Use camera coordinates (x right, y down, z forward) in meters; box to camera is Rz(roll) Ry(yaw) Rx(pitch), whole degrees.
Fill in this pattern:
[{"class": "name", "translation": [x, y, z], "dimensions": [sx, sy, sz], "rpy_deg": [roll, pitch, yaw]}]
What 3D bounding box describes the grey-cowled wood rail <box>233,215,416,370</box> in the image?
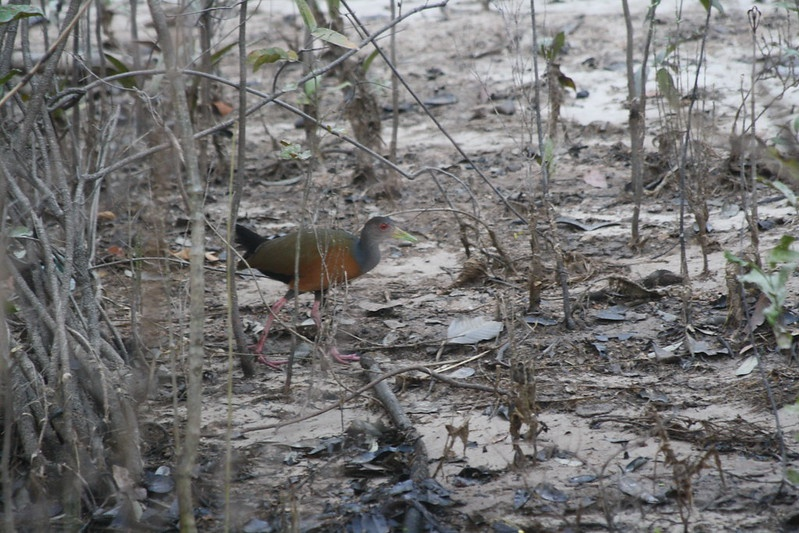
[{"class": "grey-cowled wood rail", "translation": [-0.602, 0.131, 5.687], "dimensions": [1.453, 0.863, 0.468], "rpy_deg": [2, -4, 26]}]
